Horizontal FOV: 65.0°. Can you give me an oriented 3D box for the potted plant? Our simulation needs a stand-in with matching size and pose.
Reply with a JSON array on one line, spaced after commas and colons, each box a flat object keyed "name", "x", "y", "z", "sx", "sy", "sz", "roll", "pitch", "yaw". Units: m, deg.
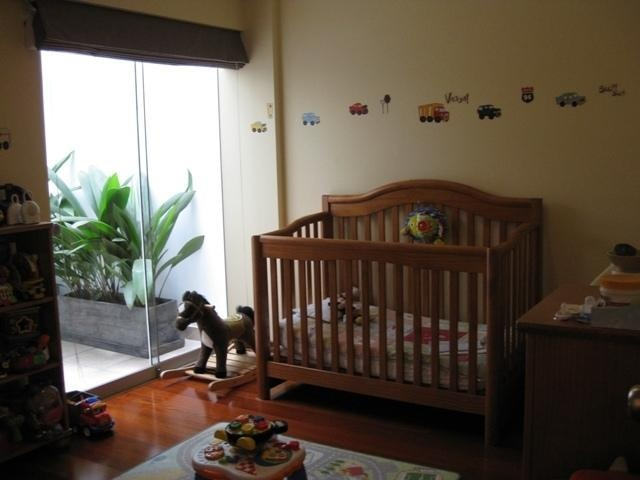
[{"name": "potted plant", "x": -1.456, "y": 0.092, "z": 3.507, "sx": 0.973, "sy": 1.021, "sz": 0.909, "roll": 10, "pitch": 13, "yaw": 37}]

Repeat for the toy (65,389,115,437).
[{"name": "toy", "x": -1.263, "y": 0.944, "z": 2.789, "sx": 0.316, "sy": 0.168, "sz": 0.155, "roll": 9, "pitch": 14, "yaw": 34}]
